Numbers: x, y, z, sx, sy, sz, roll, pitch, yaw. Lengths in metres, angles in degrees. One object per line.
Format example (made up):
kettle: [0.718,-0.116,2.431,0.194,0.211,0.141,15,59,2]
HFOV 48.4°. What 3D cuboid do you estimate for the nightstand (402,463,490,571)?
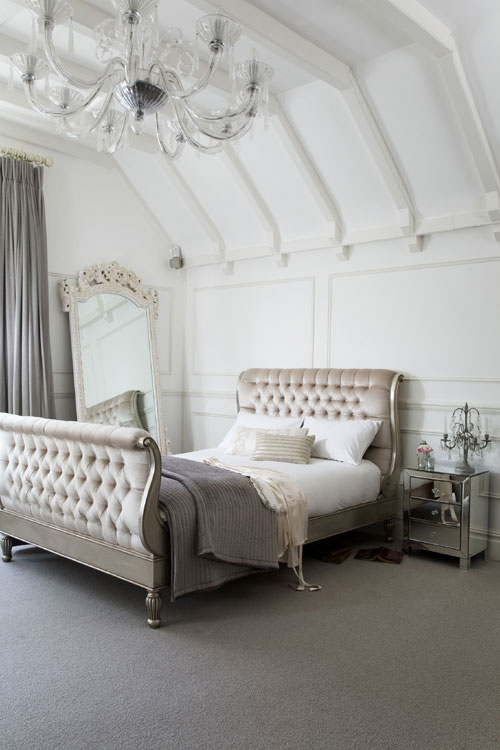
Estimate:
nightstand: [1.333,0.932,3.814,0.463,0.578,0.325,0,1,44]

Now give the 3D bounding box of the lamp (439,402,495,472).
lamp: [1.541,0.449,4.008,0.362,0.553,0.388,0,-4,-6]
